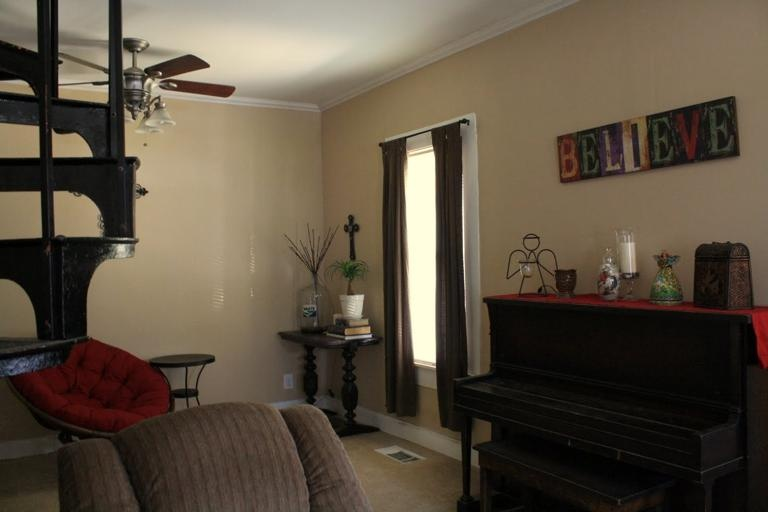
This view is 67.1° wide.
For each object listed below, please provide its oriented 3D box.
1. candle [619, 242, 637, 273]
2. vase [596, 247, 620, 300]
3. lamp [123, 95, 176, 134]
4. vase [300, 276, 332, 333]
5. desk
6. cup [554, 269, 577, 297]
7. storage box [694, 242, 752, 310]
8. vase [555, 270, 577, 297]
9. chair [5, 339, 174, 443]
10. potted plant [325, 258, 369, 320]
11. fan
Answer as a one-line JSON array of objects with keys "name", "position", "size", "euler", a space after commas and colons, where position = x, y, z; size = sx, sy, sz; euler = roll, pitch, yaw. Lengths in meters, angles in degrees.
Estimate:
[{"name": "candle", "position": [1.476, 0.005, 3.508], "size": [0.092, 0.184, 0.083], "euler": [0, 3, 25]}, {"name": "vase", "position": [1.413, 0.102, 3.616], "size": [0.122, 0.299, 0.330], "euler": [0, 2, 21]}, {"name": "lamp", "position": [-1.700, -1.062, 4.271], "size": [0.184, 0.238, 0.350], "euler": [5, -10, -43]}, {"name": "vase", "position": [-0.723, 0.453, 5.895], "size": [0.330, 0.592, 0.341], "euler": [1, 0, 10]}, {"name": "desk", "position": [-0.493, 1.163, 5.815], "size": [0.783, 1.154, 1.495], "euler": [-1, 2, -31]}, {"name": "cup", "position": [1.156, 0.159, 3.675], "size": [0.152, 0.162, 0.140], "euler": [0, -4, 0]}, {"name": "storage box", "position": [1.798, 0.099, 3.065], "size": [0.269, 0.342, 0.152], "euler": [1, 3, 31]}, {"name": "vase", "position": [1.161, 0.164, 3.680], "size": [0.142, 0.161, 0.152], "euler": [4, -7, -37]}, {"name": "chair", "position": [-2.159, 0.988, 4.141], "size": [0.994, 0.662, 0.964], "euler": [-17, -5, 41]}, {"name": "potted plant", "position": [-0.333, 0.304, 5.681], "size": [0.331, 0.555, 0.723], "euler": [-1, 2, -5]}, {"name": "fan", "position": [-1.838, -1.402, 4.202], "size": [0.996, 0.288, 1.123], "euler": [-8, 11, -25]}]
